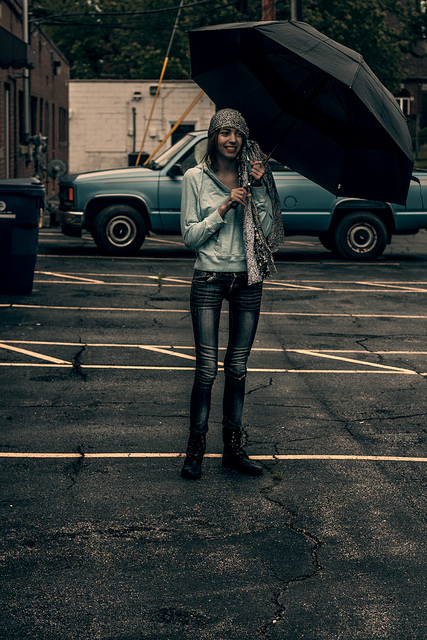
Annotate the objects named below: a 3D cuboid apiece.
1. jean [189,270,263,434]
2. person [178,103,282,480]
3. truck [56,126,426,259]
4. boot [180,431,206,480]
[{"bbox_3d":[0.056,0.171,4.473,0.368,0.884,0.187,0,7,-10],"label":"jean"},{"bbox_3d":[0.071,-0.228,4.825,0.541,2.101,1.217,1,7,-3],"label":"person"},{"bbox_3d":[0.410,-2.098,15.799,6.472,2.318,2.781,1,5,-4],"label":"truck"},{"bbox_3d":[-0.106,0.724,4.568,0.153,0.260,0.143,-2,8,-22],"label":"boot"}]
